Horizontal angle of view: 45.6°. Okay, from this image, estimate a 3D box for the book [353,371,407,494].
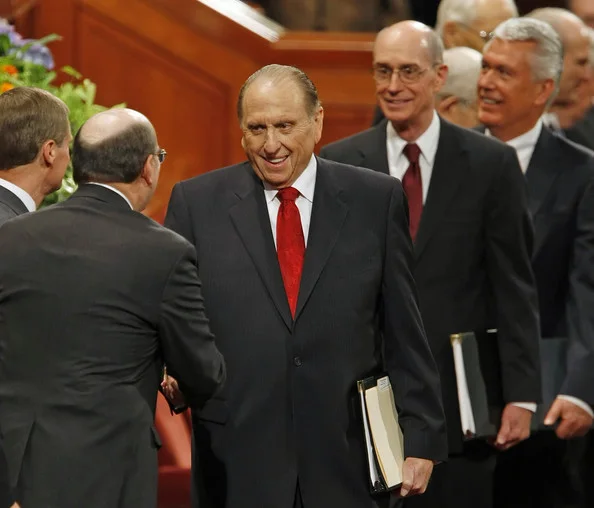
[{"bbox_3d":[0.254,0.528,2.045,0.062,0.285,0.245,-9,-1,35],"label":"book"}]

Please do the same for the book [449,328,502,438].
[{"bbox_3d":[0.613,0.455,2.442,0.270,0.314,0.066,-5,-1,-44],"label":"book"}]
